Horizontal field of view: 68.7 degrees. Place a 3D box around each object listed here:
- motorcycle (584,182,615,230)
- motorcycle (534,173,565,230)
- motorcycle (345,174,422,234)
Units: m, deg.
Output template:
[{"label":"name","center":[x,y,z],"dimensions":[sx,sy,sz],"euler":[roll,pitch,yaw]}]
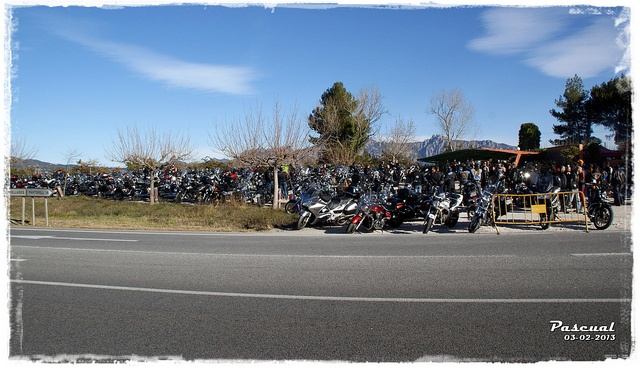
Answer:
[{"label":"motorcycle","center":[11.392,0.901,19.155],"dimensions":[0.606,1.780,1.161],"euler":[-1,6,0]},{"label":"motorcycle","center":[9.610,0.697,19.672],"dimensions":[0.864,2.224,1.551],"euler":[2,7,25]},{"label":"motorcycle","center":[2.389,0.992,19.941],"dimensions":[3.230,1.780,1.516],"euler":[-3,13,-32]}]
